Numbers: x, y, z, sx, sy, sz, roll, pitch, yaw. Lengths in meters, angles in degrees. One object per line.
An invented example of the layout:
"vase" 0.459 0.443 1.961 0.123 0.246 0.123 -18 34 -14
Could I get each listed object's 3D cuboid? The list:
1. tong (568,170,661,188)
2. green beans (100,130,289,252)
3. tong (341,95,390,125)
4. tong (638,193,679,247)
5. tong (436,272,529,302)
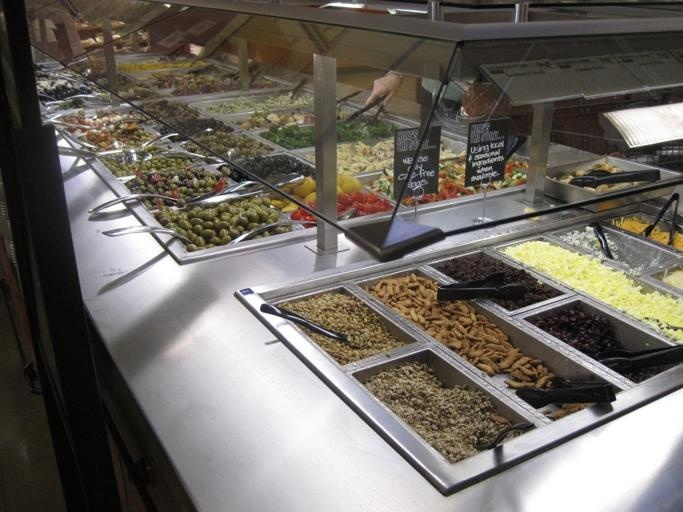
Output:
"tong" 0.653 -0.176 1.210 0.156 0.026 0.089 5 22 34
"green beans" -0.662 -0.254 2.341 0.638 0.123 0.890 -21 35 -33
"tong" 0.049 -0.279 0.996 0.065 0.015 0.034 -29 25 22
"tong" 1.352 -0.165 2.120 0.117 0.146 0.352 26 38 32
"tong" 0.463 0.112 1.731 0.255 0.050 0.122 -3 15 -14
